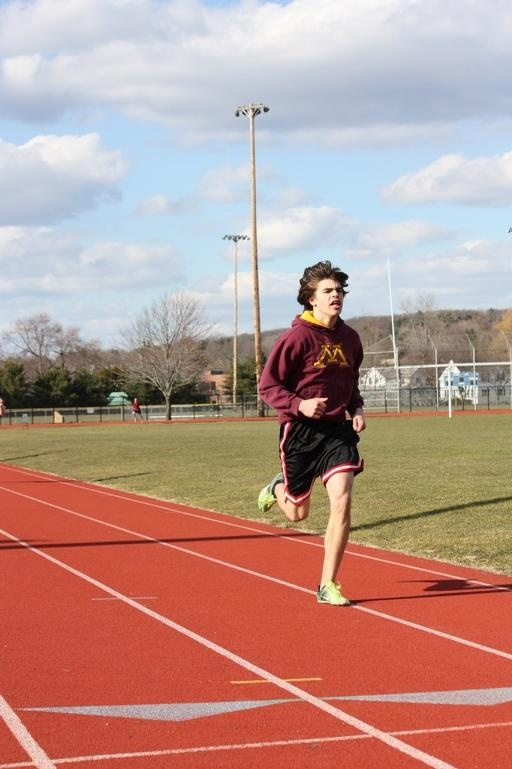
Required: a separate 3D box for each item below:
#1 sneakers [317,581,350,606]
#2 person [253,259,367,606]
[{"bbox_3d":[0.444,1.185,4.989,0.181,0.136,0.194,-1,0,-4],"label":"sneakers"},{"bbox_3d":[0.320,0.283,5.067,0.601,1.848,0.946,-1,0,7],"label":"person"}]
